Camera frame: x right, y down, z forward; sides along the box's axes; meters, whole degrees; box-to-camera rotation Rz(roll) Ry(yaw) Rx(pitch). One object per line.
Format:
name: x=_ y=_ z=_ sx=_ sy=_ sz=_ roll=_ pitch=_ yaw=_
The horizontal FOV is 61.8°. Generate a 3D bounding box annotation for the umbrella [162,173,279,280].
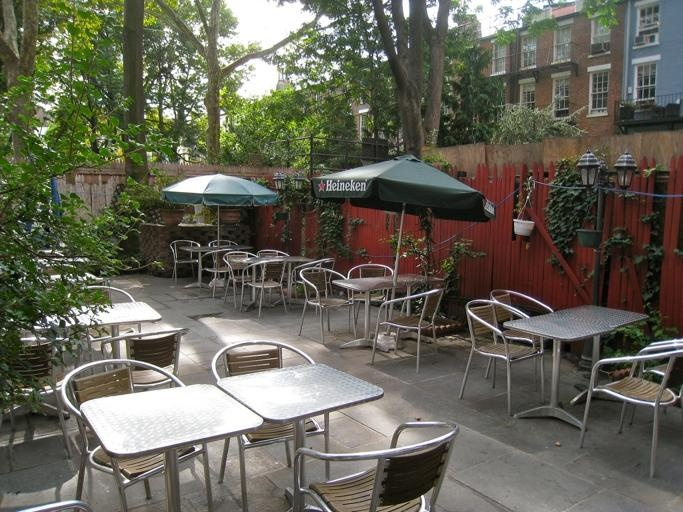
umbrella: x=-2.555 y=-0.848 z=12.539 sx=2.304 sy=2.332 sz=2.248 roll=5 pitch=10 yaw=7

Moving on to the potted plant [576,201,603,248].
potted plant: x=3.034 y=-0.422 z=6.956 sx=0.329 sy=0.578 sz=0.335 roll=-13 pitch=-8 yaw=38

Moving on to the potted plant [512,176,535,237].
potted plant: x=2.682 y=-0.693 z=8.388 sx=0.315 sy=0.954 sz=0.543 roll=4 pitch=10 yaw=16

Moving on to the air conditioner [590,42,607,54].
air conditioner: x=11.054 y=-9.005 z=24.555 sx=0.549 sy=0.442 sz=0.838 roll=-10 pitch=12 yaw=-40
